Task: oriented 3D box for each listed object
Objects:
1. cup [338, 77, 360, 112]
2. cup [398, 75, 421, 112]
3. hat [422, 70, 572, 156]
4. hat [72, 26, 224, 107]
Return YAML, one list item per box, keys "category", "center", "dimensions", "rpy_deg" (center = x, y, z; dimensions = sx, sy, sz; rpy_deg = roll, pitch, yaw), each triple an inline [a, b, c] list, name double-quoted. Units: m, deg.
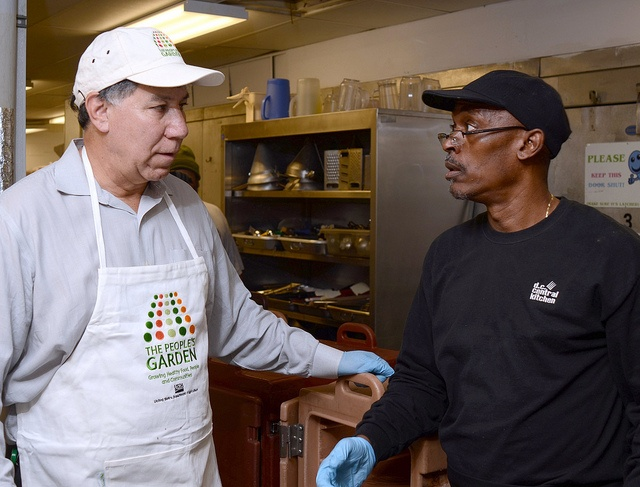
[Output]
- category: "cup"
  center: [0.171, -0.934, 3.533]
  dimensions: [0.168, 0.195, 0.170]
  rpy_deg: [6, 20, -2]
- category: "cup"
  center: [0.552, -0.899, 3.409]
  dimensions: [0.133, 0.211, 0.129]
  rpy_deg: [-1, 19, 0]
- category: "hat"
  center: [0.486, -0.369, 1.581]
  dimensions: [0.343, 0.176, 0.228]
  rpy_deg: [25, 6, -5]
- category: "hat"
  center: [-0.478, -0.505, 1.572]
  dimensions: [0.415, 0.196, 0.289]
  rpy_deg: [-8, 12, 11]
